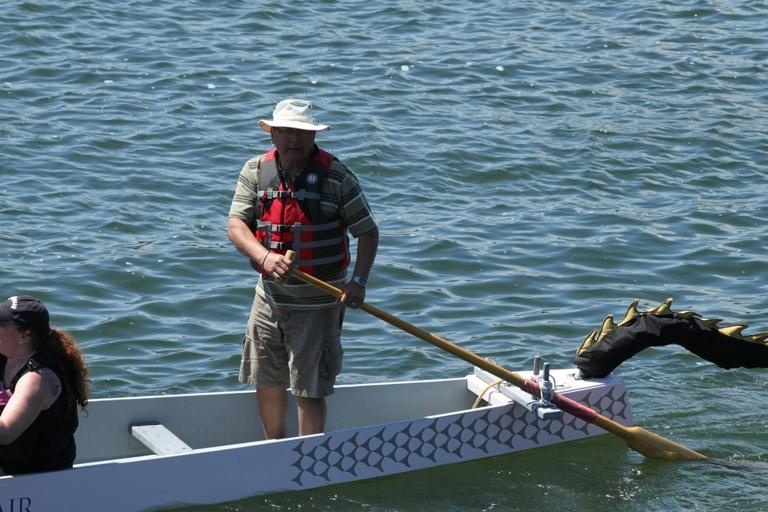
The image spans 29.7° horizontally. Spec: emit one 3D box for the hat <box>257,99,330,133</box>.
[{"bbox_3d":[-0.908,-1.388,14.518,0.778,0.226,0.726,9,1,0],"label":"hat"}]

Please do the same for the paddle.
[{"bbox_3d":[1.173,1.231,15.824,5.962,0.250,0.570,18,-17,-1],"label":"paddle"}]
